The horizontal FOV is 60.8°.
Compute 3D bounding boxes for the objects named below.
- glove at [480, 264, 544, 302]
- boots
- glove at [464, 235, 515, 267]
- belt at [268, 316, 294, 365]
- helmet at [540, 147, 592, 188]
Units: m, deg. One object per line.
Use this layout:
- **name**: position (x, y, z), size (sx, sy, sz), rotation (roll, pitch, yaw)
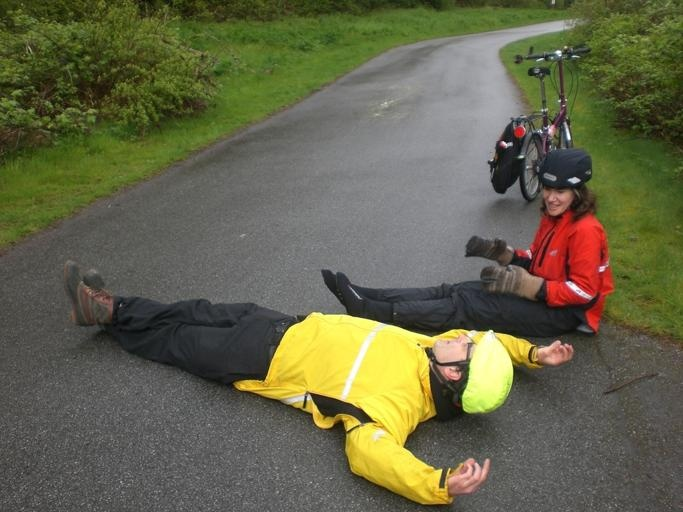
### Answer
- **glove**: position (1.748, 0.274, 6.060), size (0.540, 0.349, 0.221), rotation (21, 22, 5)
- **boots**: position (-2.543, 0.426, 6.196), size (0.607, 0.914, 0.317), rotation (-2, 2, 19)
- **glove**: position (1.666, -0.055, 6.673), size (0.446, 0.212, 0.317), rotation (5, -3, -15)
- **belt**: position (-0.628, 0.810, 5.653), size (0.135, 0.391, 0.284), rotation (17, 4, 0)
- **helmet**: position (2.311, -0.913, 6.057), size (0.498, 0.336, 0.361), rotation (6, 39, 15)
